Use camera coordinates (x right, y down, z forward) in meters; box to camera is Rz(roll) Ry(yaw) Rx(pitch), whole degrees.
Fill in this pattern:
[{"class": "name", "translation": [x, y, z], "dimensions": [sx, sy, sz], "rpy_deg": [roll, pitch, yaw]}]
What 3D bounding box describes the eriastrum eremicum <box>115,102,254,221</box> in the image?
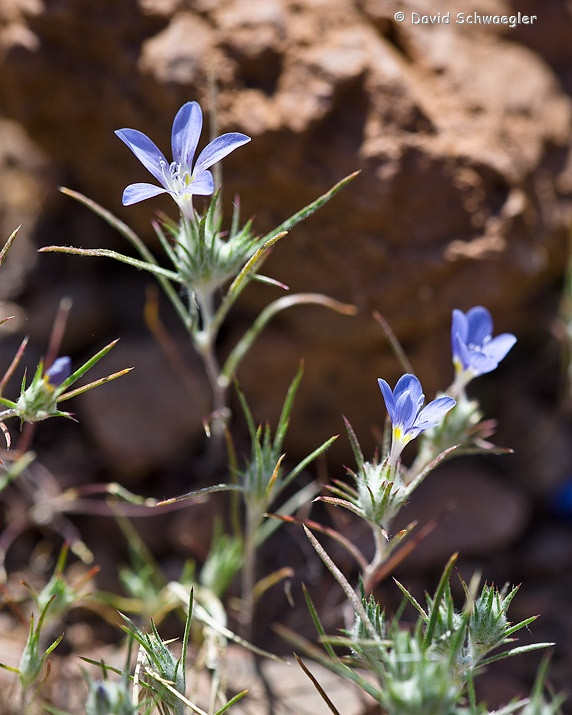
[{"class": "eriastrum eremicum", "translation": [-0.298, -0.568, 2.265], "dimensions": [0.372, 0.361, 0.381], "rpy_deg": [-3, 43, -1]}]
